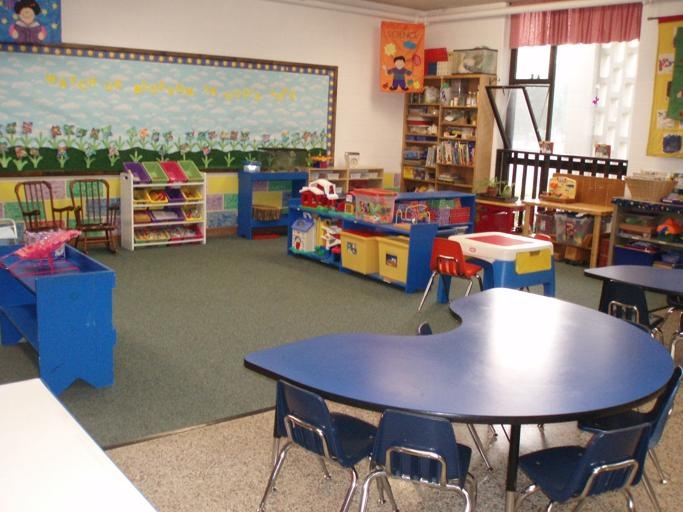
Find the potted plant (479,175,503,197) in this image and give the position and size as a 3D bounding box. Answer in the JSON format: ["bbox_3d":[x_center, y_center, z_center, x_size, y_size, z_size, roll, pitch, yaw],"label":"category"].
[{"bbox_3d":[2.597,-1.191,9.172,0.362,0.261,0.371,-6,14,-23],"label":"potted plant"}]

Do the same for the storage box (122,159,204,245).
[{"bbox_3d":[-2.711,-0.819,7.938,1.141,1.179,0.444,-6,12,-34],"label":"storage box"}]

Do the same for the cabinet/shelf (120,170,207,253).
[{"bbox_3d":[-2.699,-0.684,7.930,1.116,1.073,0.440,-5,9,-36],"label":"cabinet/shelf"}]

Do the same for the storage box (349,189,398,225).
[{"bbox_3d":[0.403,-0.631,6.746,0.357,0.338,0.545,-4,8,-36],"label":"storage box"}]

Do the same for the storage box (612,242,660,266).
[{"bbox_3d":[3.803,-0.010,6.905,0.263,0.331,0.455,-10,16,-36],"label":"storage box"}]

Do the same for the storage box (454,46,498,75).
[{"bbox_3d":[2.321,-3.206,9.096,0.821,0.520,0.465,11,19,42],"label":"storage box"}]

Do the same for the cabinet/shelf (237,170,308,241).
[{"bbox_3d":[-1.158,-0.830,8.673,1.055,1.012,0.372,-8,15,-38],"label":"cabinet/shelf"}]

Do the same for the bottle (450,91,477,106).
[{"bbox_3d":[2.101,-2.693,9.116,0.331,0.159,0.182,7,11,40],"label":"bottle"}]

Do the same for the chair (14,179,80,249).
[{"bbox_3d":[-4.032,-0.688,7.246,0.679,0.660,0.496,-4,13,-31],"label":"chair"}]
